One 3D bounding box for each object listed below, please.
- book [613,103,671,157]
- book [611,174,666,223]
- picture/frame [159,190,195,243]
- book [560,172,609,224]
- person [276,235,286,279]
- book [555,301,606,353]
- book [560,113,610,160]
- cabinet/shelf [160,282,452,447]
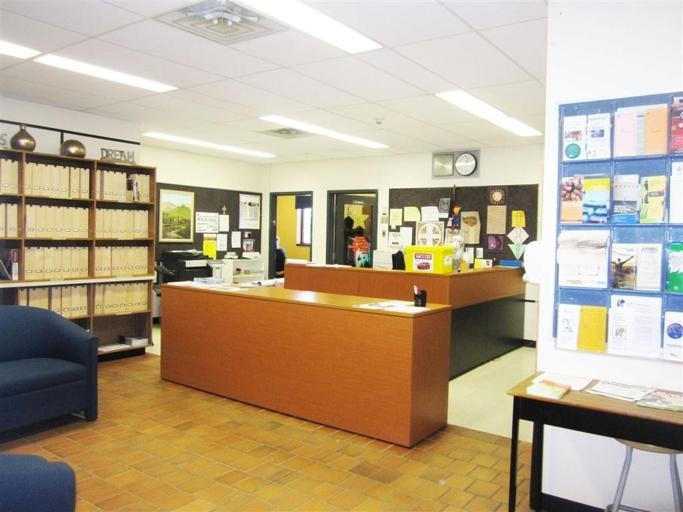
[{"bbox_3d":[2.007,-0.829,3.486,0.348,0.331,0.320,1,4,19],"label":"book"},{"bbox_3d":[2.027,-0.393,3.442,0.340,0.317,0.125,2,2,41],"label":"book"},{"bbox_3d":[-3.062,-0.751,9.470,0.118,0.966,0.764,7,8,36],"label":"picture/frame"},{"bbox_3d":[1.730,-0.410,3.592,0.381,0.359,0.127,1,0,33],"label":"book"},{"bbox_3d":[-1.393,0.028,11.534,0.182,0.883,0.396,1,7,-5],"label":"person"},{"bbox_3d":[1.715,0.494,3.616,0.389,0.387,0.046,1,-2,34],"label":"book"},{"bbox_3d":[1.729,-0.842,3.582,0.360,0.347,0.041,2,1,38],"label":"book"},{"bbox_3d":[-0.497,0.969,5.146,2.905,1.192,0.482,4,8,25],"label":"cabinet/shelf"}]
